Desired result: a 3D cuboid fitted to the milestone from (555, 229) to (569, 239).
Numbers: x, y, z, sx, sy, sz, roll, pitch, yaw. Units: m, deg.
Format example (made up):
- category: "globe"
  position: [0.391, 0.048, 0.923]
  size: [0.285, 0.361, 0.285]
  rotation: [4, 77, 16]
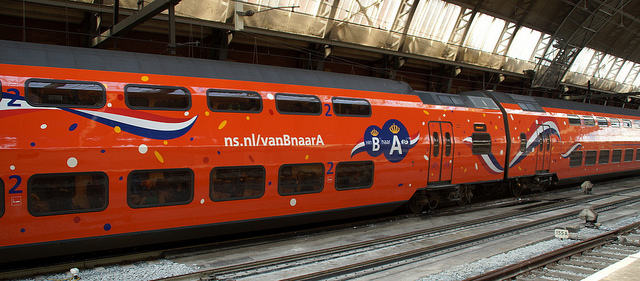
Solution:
- category: "milestone"
  position: [12.358, 4.740, 19.326]
  size: [0.786, 0.428, 0.446]
  rotation: [-1, 1, 32]
